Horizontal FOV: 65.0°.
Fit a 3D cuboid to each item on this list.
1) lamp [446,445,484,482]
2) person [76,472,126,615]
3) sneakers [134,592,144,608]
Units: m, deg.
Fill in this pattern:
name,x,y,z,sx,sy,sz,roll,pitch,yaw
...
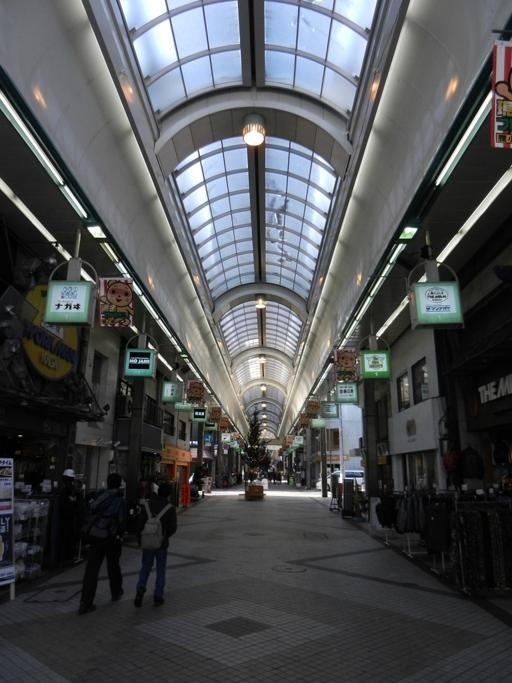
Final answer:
name,x,y,z,sx,sy,sz,roll,pitch,yaw
lamp,5.521,3.295,10.672,0.768,1.048,0.458,1,0,32
person,-1.815,2.393,4.877,0.459,1.499,0.668,6,-17,-18
sneakers,-1.372,3.004,4.671,0.105,0.173,0.172,7,-20,-3
